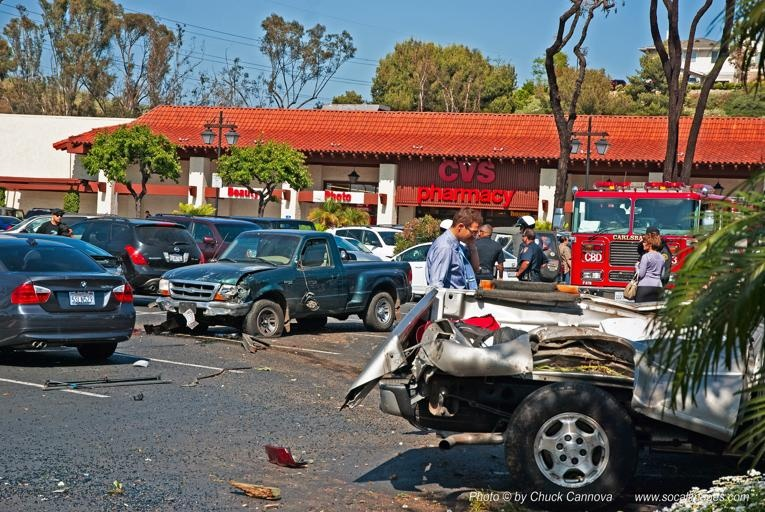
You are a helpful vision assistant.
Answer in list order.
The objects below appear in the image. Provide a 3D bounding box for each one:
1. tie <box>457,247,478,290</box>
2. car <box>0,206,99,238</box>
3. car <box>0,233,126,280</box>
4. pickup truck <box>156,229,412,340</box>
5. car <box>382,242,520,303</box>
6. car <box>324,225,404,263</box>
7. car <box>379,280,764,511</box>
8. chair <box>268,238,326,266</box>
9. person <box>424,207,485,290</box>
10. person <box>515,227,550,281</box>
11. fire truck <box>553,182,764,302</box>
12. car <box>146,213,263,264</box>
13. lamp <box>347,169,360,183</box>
[{"bbox_3d":[1.142,0.192,10.090,0.236,0.610,0.078,-29,43,-15],"label":"tie"},{"bbox_3d":[-8.403,-0.827,19.930,1.997,0.923,1.140,2,3,14],"label":"car"},{"bbox_3d":[-6.673,-0.111,16.048,2.675,0.883,1.184,3,1,-2],"label":"car"},{"bbox_3d":[-1.940,0.558,15.561,2.236,1.525,4.154,-2,-3,43],"label":"pickup truck"},{"bbox_3d":[1.888,0.180,23.090,2.054,1.753,4.263,-25,14,-30],"label":"car"},{"bbox_3d":[-0.669,-0.436,27.411,2.294,0.870,1.098,-2,4,6],"label":"car"},{"bbox_3d":[1.524,1.269,7.692,2.964,1.132,2.138,-1,2,1],"label":"car"},{"bbox_3d":[-1.534,-0.077,15.386,0.842,0.464,0.559,8,-5,-40],"label":"chair"},{"bbox_3d":[0.863,-0.106,9.974,0.474,0.986,1.019,7,7,35],"label":"person"},{"bbox_3d":[3.278,-0.004,17.384,0.608,1.146,1.358,4,5,11],"label":"person"},{"bbox_3d":[6.781,-0.116,23.071,6.766,4.004,3.937,2,4,31],"label":"fire truck"},{"bbox_3d":[-4.799,-0.375,21.563,3.094,1.260,1.480,-2,7,-17],"label":"car"},{"bbox_3d":[-1.707,-4.707,46.976,0.654,0.660,0.712,1,6,4],"label":"lamp"}]
